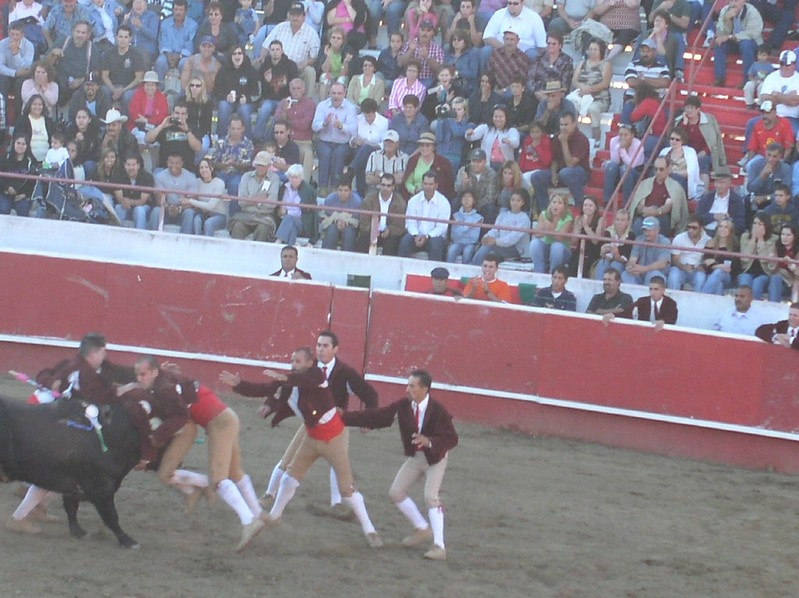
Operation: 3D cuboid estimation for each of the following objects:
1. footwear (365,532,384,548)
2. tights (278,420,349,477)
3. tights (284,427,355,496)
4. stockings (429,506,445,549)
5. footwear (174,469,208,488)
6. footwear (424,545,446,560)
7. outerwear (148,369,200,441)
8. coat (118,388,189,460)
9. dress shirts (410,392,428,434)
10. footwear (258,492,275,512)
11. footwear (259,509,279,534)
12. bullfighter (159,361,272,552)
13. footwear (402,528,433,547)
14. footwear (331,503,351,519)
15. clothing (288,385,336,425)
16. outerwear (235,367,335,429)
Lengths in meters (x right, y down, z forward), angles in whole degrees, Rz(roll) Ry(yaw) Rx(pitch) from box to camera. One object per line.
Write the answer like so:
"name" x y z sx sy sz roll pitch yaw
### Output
"footwear" -0.290 3.113 18.673 0.198 0.199 0.285 9 6 38
"tights" -1.097 2.001 19.015 0.883 0.834 0.338 1 -2 7
"tights" -1.051 2.176 19.031 0.807 0.759 0.405 15 -6 15
"stockings" 0.487 2.936 18.673 0.248 0.542 0.511 6 4 2
"footwear" -2.645 2.278 18.414 0.367 0.147 0.207 16 30 -31
"footwear" 0.453 3.247 18.426 0.251 0.112 0.144 6 42 -11
"outerwear" -2.784 1.143 18.191 0.558 0.578 0.235 -23 1 36
"coat" -3.013 1.491 18.388 0.875 0.892 0.380 11 9 2
"dress shirts" 0.243 1.486 18.656 0.240 0.458 0.108 4 8 33
"footwear" -1.744 2.700 19.104 0.228 0.233 0.140 2 -17 32
"footwear" -1.679 2.836 18.429 0.345 0.318 0.125 -7 13 -18
"bullfighter" -2.295 1.873 18.483 0.874 2.467 1.138 -24 2 5
"footwear" 0.223 3.081 18.736 0.489 0.212 0.167 -4 20 -1
"footwear" -0.759 2.860 19.314 0.215 0.167 0.224 2 3 27
"clothing" -1.147 1.351 18.601 0.683 0.576 0.383 7 5 13
"outerwear" -1.450 1.151 18.568 0.723 0.689 1.130 -28 -41 33
